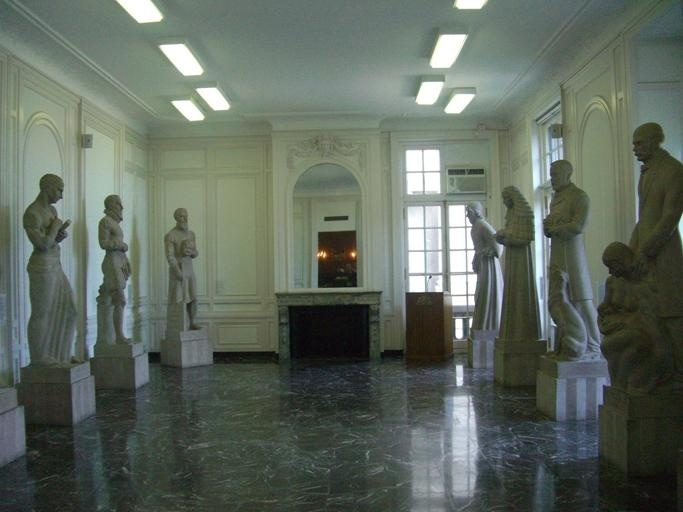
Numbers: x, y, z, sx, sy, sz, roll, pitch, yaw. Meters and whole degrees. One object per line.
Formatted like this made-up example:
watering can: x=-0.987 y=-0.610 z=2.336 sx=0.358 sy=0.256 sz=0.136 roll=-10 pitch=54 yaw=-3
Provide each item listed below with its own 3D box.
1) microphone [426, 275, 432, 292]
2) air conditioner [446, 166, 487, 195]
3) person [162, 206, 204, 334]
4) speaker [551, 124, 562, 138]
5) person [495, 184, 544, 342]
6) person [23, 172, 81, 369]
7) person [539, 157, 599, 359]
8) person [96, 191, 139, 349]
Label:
microphone: x=1.411 y=0.426 z=9.717 sx=0.095 sy=0.245 sz=0.050 roll=-1 pitch=5 yaw=-2
air conditioner: x=2.006 y=-1.239 z=9.770 sx=0.682 sy=0.511 sz=0.410 roll=0 pitch=2 yaw=4
person: x=-2.354 y=0.193 z=8.845 sx=0.468 sy=1.791 sz=0.336 roll=-3 pitch=5 yaw=-25
speaker: x=2.836 y=-1.671 z=7.984 sx=0.132 sy=0.182 sz=0.150 roll=-1 pitch=5 yaw=6
person: x=2.086 y=0.087 z=7.132 sx=0.520 sy=1.818 sz=0.375 roll=0 pitch=5 yaw=17
person: x=-3.069 y=0.144 z=6.301 sx=0.467 sy=1.985 sz=0.351 roll=-3 pitch=5 yaw=-25
person: x=2.327 y=0.005 z=6.125 sx=0.560 sy=1.984 sz=0.501 roll=3 pitch=6 yaw=41
person: x=-2.864 y=0.174 z=7.515 sx=0.400 sy=1.856 sz=0.312 roll=-3 pitch=5 yaw=-22
